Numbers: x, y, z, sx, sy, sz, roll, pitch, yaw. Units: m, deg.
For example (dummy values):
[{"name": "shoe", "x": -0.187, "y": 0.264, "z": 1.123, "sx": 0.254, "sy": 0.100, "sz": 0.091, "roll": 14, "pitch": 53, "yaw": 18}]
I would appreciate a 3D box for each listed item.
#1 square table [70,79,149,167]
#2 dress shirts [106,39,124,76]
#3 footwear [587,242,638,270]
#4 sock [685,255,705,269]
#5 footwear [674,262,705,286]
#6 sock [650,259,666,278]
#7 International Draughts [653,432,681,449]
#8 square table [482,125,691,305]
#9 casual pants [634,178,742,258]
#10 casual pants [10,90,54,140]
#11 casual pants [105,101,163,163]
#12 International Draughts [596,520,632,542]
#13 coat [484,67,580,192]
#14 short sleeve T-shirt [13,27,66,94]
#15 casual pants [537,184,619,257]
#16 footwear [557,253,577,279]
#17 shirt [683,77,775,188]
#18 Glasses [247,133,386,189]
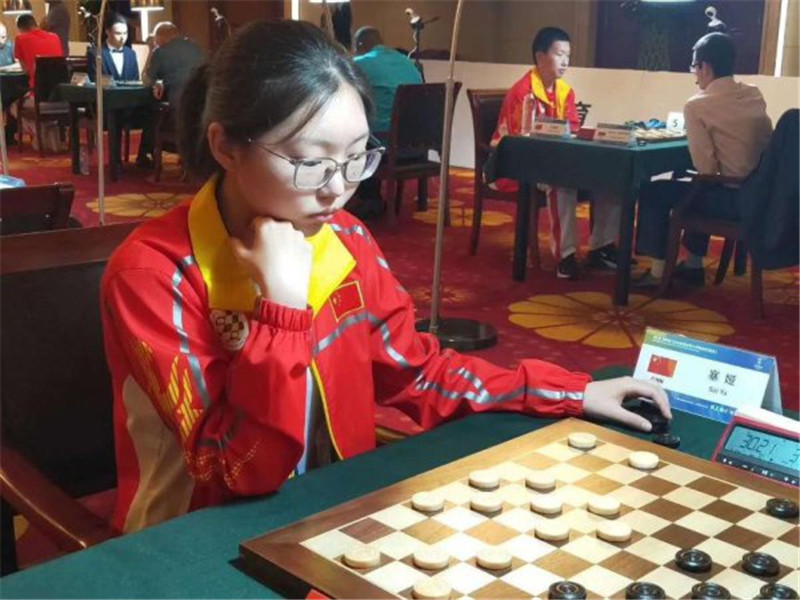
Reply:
[{"name": "square table", "x": -2.861, "y": -1.654, "z": 6.649, "sx": 0.757, "sy": 0.751, "sz": 0.650, "roll": 6, "pitch": 17, "yaw": 31}, {"name": "dress shirts", "x": -2.938, "y": -2.474, "z": 6.919, "sx": 0.206, "sy": 0.306, "sz": 0.106, "roll": -2, "pitch": -8, "yaw": -35}, {"name": "footwear", "x": 1.402, "y": -0.274, "z": 4.427, "sx": 0.244, "sy": 0.109, "sz": 0.178, "roll": 20, "pitch": -3, "yaw": 39}, {"name": "sock", "x": 1.779, "y": -0.224, "z": 4.038, "sx": 0.096, "sy": 0.071, "sz": 0.101, "roll": -3, "pitch": 43, "yaw": 9}, {"name": "footwear", "x": 1.785, "y": -0.152, "z": 4.143, "sx": 0.145, "sy": 0.112, "sz": 0.155, "roll": 12, "pitch": 15, "yaw": 40}, {"name": "sock", "x": 1.591, "y": -0.192, "z": 4.126, "sx": 0.079, "sy": 0.145, "sz": 0.080, "roll": 7, "pitch": 22, "yaw": 32}, {"name": "International Draughts", "x": 0.425, "y": 0.219, "z": 1.074, "sx": 0.023, "sy": 0.012, "sz": 0.033, "roll": 9, "pitch": 12, "yaw": 33}, {"name": "square table", "x": 1.025, "y": -0.486, "z": 3.994, "sx": 1.121, "sy": 0.711, "sz": 1.137, "roll": 5, "pitch": 2, "yaw": -15}, {"name": "casual pants", "x": 1.568, "y": -0.453, "z": 3.698, "sx": 0.455, "sy": 0.447, "sz": 0.366, "roll": 5, "pitch": 11, "yaw": 21}, {"name": "casual pants", "x": -4.122, "y": -2.090, "z": 7.449, "sx": 0.394, "sy": 0.486, "sz": 0.420, "roll": 13, "pitch": 13, "yaw": 17}, {"name": "casual pants", "x": -2.609, "y": -1.667, "z": 6.703, "sx": 0.539, "sy": 0.706, "sz": 0.544, "roll": -10, "pitch": 19, "yaw": -25}, {"name": "International Draughts", "x": 0.254, "y": 0.273, "z": 0.794, "sx": 0.039, "sy": 0.013, "sz": 0.035, "roll": -10, "pitch": 14, "yaw": -35}, {"name": "coat", "x": 0.791, "y": -0.988, "z": 4.018, "sx": 0.676, "sy": 0.653, "sz": 0.432, "roll": -17, "pitch": 27, "yaw": -40}, {"name": "short sleeve T-shirt", "x": -4.163, "y": -2.818, "z": 7.789, "sx": 0.394, "sy": 0.706, "sz": 0.587, "roll": 36, "pitch": 43, "yaw": 16}, {"name": "casual pants", "x": 1.154, "y": -0.504, "z": 4.236, "sx": 0.487, "sy": 0.485, "sz": 0.059, "roll": -4, "pitch": 28, "yaw": 8}, {"name": "footwear", "x": 1.103, "y": -0.217, "z": 4.402, "sx": 0.092, "sy": 0.187, "sz": 0.182, "roll": -4, "pitch": 16, "yaw": -13}, {"name": "shirt", "x": 1.837, "y": -0.976, "z": 3.667, "sx": 0.573, "sy": 0.543, "sz": 0.322, "roll": -21, "pitch": 25, "yaw": -8}, {"name": "Glasses", "x": -0.096, "y": -0.190, "z": 0.968, "sx": 0.078, "sy": 0.062, "sz": 0.191, "roll": 10, "pitch": 16, "yaw": 43}]
